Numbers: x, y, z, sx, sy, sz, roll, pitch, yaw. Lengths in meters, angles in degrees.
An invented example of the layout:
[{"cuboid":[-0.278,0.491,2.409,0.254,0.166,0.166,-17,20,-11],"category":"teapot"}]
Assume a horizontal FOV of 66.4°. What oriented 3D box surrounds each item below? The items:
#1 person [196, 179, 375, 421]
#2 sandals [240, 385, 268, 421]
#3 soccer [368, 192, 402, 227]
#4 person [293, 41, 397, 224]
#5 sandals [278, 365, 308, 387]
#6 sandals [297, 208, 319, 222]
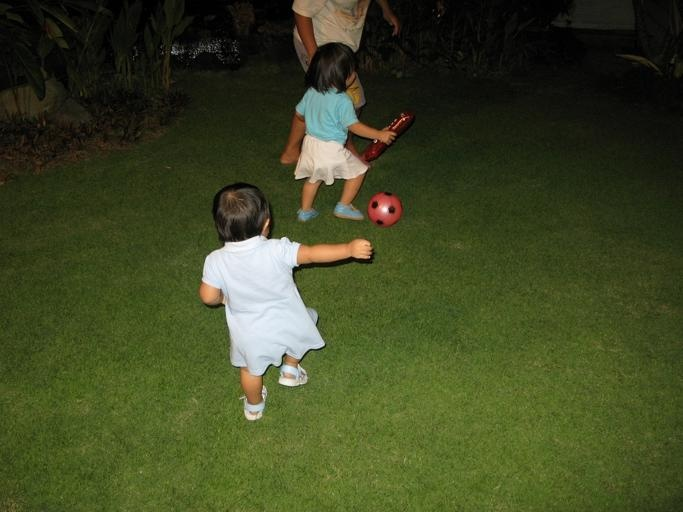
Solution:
[{"cuboid":[-0.369,0.312,2.731,0.696,1.180,0.497,14,40,7],"category":"person"},{"cuboid":[-0.495,0.839,2.912,0.087,0.097,0.227,0,36,-3],"category":"sandals"},{"cuboid":[0.319,-0.359,3.774,0.213,0.258,0.237,4,55,6],"category":"soccer"},{"cuboid":[-0.034,-0.850,3.734,0.696,1.310,0.549,21,35,26],"category":"person"},{"cuboid":[-0.271,0.680,3.027,0.088,0.099,0.196,2,9,11],"category":"sandals"},{"cuboid":[-0.265,-0.313,3.921,0.069,0.063,0.141,14,32,28],"category":"sandals"}]
